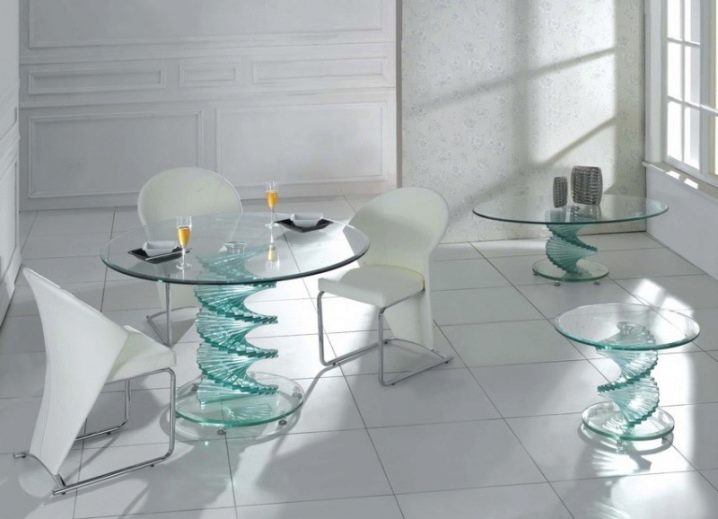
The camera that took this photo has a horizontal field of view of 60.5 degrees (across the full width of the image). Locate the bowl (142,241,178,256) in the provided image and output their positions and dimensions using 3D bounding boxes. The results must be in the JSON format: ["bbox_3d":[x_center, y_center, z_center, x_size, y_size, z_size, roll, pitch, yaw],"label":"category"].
[{"bbox_3d":[-0.961,-0.052,2.961,0.120,0.035,0.083,-3,7,-31],"label":"bowl"}]

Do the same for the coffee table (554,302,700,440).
[{"bbox_3d":[1.200,0.547,2.999,0.800,0.505,0.678,-2,15,-2],"label":"coffee table"}]

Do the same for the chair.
[{"bbox_3d":[-0.598,0.278,3.141,2.249,1.057,0.977,-20,28,-34],"label":"chair"}]

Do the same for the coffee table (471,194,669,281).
[{"bbox_3d":[1.594,-0.102,4.777,1.393,0.458,1.387,3,10,41],"label":"coffee table"}]
